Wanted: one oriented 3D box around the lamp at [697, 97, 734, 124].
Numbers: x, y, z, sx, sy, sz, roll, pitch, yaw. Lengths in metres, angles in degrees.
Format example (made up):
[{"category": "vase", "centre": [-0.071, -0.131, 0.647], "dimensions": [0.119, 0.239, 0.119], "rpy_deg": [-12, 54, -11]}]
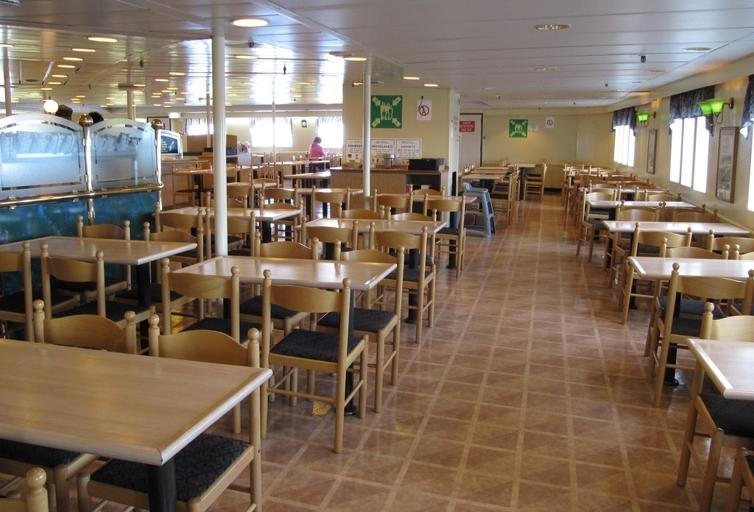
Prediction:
[{"category": "lamp", "centre": [4.343, -1.839, 7.258], "dimensions": [0.314, 0.190, 0.356], "rpy_deg": [-3, 7, -1]}]
